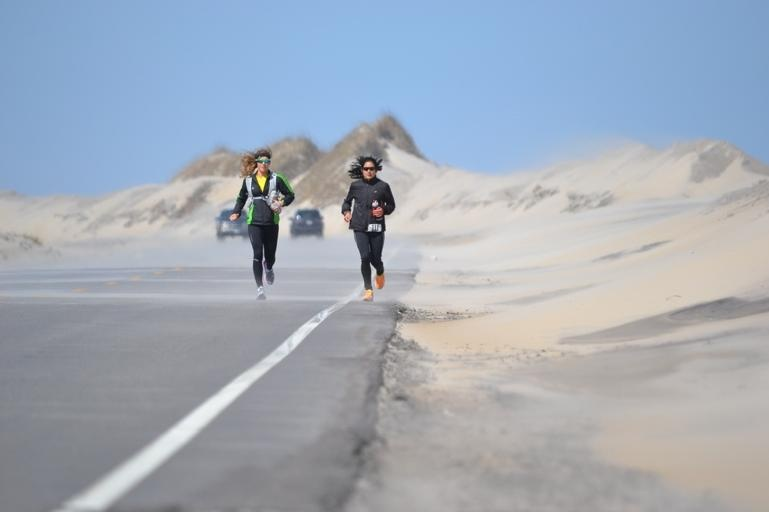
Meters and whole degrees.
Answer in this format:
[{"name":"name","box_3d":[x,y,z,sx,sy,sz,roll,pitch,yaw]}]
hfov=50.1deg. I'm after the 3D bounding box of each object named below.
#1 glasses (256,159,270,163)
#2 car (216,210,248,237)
[{"name":"glasses","box_3d":[-2.211,-1.720,14.764,0.251,0.067,0.187,1,6,4]},{"name":"car","box_3d":[-7.664,-1.528,41.180,1.716,1.275,2.668,-1,-3,-8]}]
